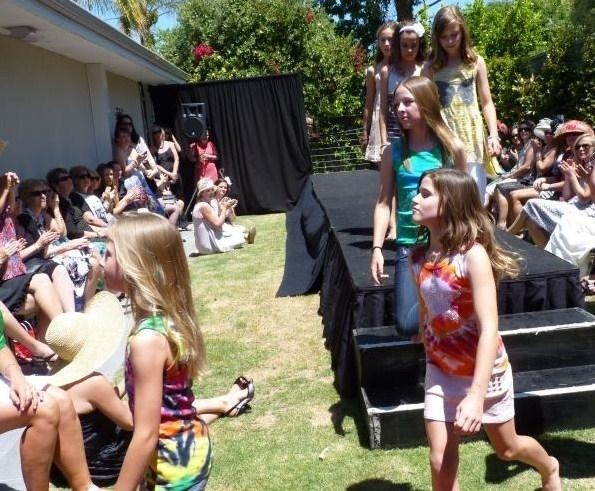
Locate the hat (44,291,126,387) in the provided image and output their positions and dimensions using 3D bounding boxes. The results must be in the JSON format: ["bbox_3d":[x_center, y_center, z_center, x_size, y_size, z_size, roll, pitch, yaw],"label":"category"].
[{"bbox_3d":[-0.948,0.417,2.669,0.385,0.456,0.144,-30,-44,32],"label":"hat"}]

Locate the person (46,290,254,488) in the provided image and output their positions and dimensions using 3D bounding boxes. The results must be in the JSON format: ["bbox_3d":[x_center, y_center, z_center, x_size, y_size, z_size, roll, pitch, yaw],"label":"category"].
[{"bbox_3d":[-0.923,0.606,3.297,0.630,1.120,1.316,9,12,40],"label":"person"}]

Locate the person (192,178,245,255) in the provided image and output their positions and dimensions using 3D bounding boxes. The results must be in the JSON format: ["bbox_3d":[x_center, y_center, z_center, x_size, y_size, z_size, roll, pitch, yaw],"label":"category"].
[{"bbox_3d":[-1.073,-0.436,8.336,0.932,1.448,0.965,-2,14,-17],"label":"person"}]

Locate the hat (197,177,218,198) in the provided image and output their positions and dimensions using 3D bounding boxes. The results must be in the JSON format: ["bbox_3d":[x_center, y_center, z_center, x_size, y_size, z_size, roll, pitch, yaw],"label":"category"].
[{"bbox_3d":[-1.315,-0.893,8.221,0.242,0.147,0.270,-19,6,34],"label":"hat"}]

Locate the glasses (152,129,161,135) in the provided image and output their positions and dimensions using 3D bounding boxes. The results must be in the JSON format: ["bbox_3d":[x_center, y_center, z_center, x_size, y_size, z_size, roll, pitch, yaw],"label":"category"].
[{"bbox_3d":[-2.613,-2.134,10.303,0.111,0.111,0.108,-3,23,3],"label":"glasses"}]

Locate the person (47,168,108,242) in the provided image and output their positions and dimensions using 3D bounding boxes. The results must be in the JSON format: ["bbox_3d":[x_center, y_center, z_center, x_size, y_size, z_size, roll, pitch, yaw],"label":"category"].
[{"bbox_3d":[-2.293,-0.428,5.655,0.683,0.902,0.608,-1,7,-13],"label":"person"}]

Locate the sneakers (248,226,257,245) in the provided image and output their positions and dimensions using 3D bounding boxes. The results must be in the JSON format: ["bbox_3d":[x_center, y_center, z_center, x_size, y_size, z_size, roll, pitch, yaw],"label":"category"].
[{"bbox_3d":[-0.701,-0.172,8.676,0.129,0.129,0.233,0,16,0],"label":"sneakers"}]

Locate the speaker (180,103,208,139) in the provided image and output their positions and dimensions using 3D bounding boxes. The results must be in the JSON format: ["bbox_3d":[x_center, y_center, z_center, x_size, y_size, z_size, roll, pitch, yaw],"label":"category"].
[{"bbox_3d":[-2.123,-2.545,11.241,0.609,0.709,0.404,-2,13,10],"label":"speaker"}]
